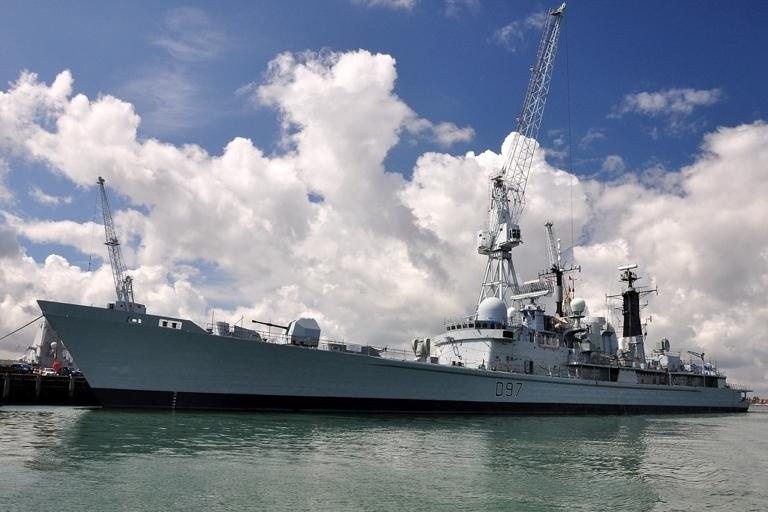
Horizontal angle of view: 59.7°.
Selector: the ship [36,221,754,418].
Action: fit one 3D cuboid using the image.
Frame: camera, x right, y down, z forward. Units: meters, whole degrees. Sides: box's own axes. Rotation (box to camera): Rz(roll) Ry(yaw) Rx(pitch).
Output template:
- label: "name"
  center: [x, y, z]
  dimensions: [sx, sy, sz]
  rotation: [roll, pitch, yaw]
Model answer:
- label: "ship"
  center: [-0.469, 7.000, 44.067]
  dimensions: [42.815, 11.522, 6.860]
  rotation: [14, -17, -32]
